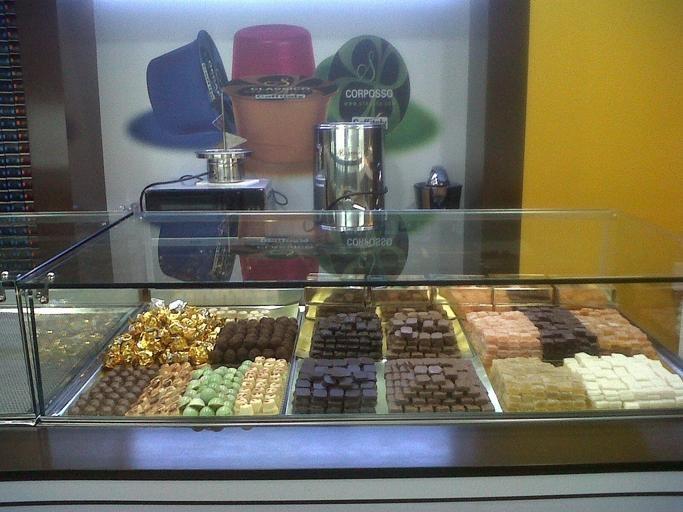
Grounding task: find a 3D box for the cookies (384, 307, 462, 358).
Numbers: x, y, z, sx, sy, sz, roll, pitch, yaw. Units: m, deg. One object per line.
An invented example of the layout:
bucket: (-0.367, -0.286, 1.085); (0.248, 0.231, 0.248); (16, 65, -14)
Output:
cookies: (0.243, 0.231, 1.540); (0.157, 0.049, 0.145); (0, 21, 1)
